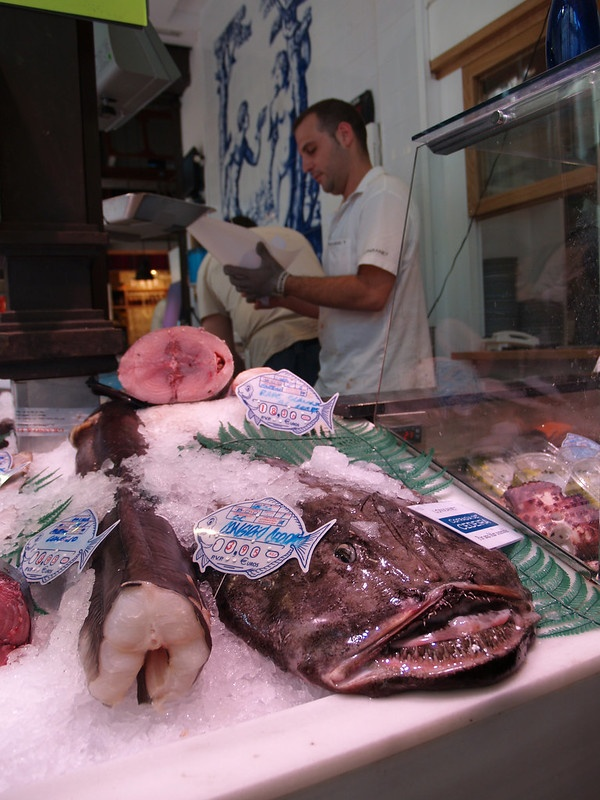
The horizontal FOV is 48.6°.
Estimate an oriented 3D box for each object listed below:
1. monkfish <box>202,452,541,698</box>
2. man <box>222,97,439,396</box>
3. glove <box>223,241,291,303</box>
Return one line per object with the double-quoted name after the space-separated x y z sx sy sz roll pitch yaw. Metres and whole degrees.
0.064 0.164 0.604 0.198 0.106 0.260 -11 13 -42 "monkfish"
0.117 -0.206 1.910 0.501 1.169 0.458 1 17 17 "man"
-0.124 -0.333 1.790 0.150 0.207 0.061 7 -28 15 "glove"
